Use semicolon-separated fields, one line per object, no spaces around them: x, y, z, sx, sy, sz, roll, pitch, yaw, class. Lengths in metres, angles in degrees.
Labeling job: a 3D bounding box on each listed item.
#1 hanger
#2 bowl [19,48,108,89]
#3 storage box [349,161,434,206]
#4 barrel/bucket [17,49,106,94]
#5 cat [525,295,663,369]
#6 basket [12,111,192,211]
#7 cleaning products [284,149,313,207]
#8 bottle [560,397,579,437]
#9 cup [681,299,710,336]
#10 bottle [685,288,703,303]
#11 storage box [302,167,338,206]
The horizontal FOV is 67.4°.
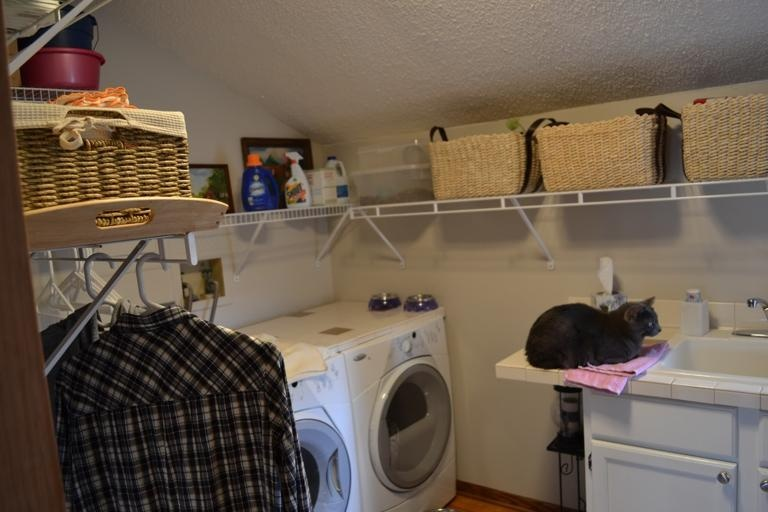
-0.896;0.109;1.818;0.027;0.333;0.326;-5;-3;41;hanger
-0.957;-0.545;1.723;0.241;0.093;0.233;-3;7;0;bowl
0.027;-0.369;3.114;0.339;0.126;0.226;-6;-3;24;storage box
-0.956;-0.543;1.720;0.229;0.092;0.230;-5;7;1;barrel/bucket
0.838;0.299;2.376;0.507;0.293;0.273;-2;3;12;cat
-0.772;-0.262;1.434;0.325;0.212;0.463;8;12;36;basket
-0.472;-0.413;3.142;0.140;0.303;0.196;-2;3;-9;cleaning products
0.940;0.801;2.879;0.123;0.192;0.117;1;-8;0;bottle
1.347;0.265;2.509;0.143;0.200;0.143;1;-1;0;cup
1.346;0.165;2.538;0.062;0.068;0.060;-9;11;-40;bottle
-0.355;-0.388;3.249;0.129;0.207;0.162;-12;9;-39;storage box
